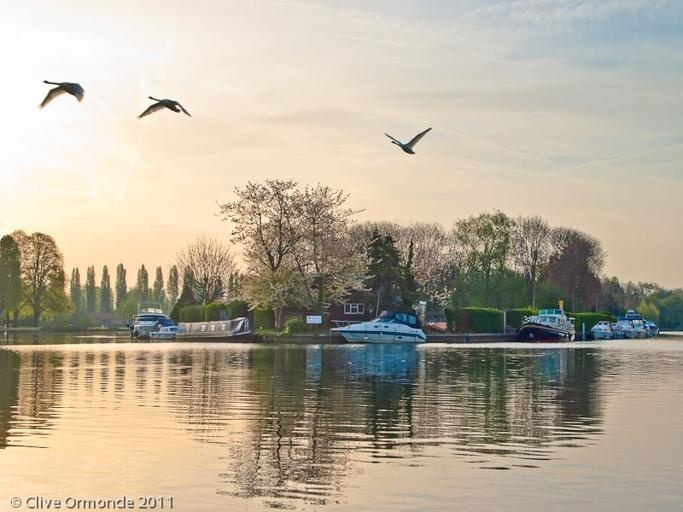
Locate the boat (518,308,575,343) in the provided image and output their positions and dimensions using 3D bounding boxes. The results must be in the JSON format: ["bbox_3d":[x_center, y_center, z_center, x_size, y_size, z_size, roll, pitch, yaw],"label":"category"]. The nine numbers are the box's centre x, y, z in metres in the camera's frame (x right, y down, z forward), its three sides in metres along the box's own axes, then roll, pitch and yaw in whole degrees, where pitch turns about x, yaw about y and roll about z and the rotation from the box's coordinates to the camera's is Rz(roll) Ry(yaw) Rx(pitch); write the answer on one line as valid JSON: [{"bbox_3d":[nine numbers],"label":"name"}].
[{"bbox_3d":[16.962,5.346,98.108,2.424,2.449,6.429,10,0,38],"label":"boat"}]

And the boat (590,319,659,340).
[{"bbox_3d":[27.728,7.190,118.937,1.749,1.218,7.498,-2,-10,31],"label":"boat"}]

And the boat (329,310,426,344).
[{"bbox_3d":[2.923,5.072,85.194,6.868,2.478,2.417,3,-7,-24],"label":"boat"}]
